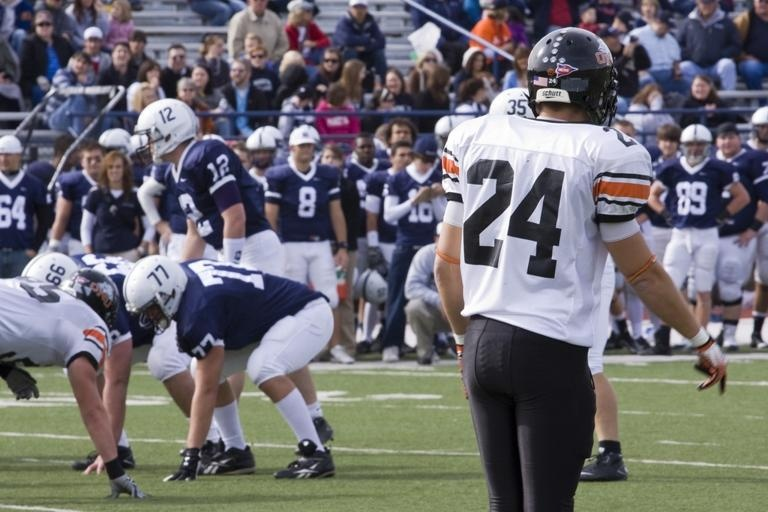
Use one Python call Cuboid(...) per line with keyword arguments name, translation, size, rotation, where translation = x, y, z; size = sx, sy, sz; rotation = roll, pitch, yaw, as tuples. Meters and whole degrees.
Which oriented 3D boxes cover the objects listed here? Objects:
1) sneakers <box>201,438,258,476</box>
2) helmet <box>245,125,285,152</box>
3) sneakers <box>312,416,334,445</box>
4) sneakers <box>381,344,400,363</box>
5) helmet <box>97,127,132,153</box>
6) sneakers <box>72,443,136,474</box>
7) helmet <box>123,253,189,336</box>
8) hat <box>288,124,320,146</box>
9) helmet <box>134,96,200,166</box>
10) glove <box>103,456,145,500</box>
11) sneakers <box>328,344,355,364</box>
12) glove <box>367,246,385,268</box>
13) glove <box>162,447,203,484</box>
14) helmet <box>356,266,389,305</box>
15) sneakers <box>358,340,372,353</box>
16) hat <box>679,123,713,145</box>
Cuboid(name="sneakers", translation=(-1.289, 1.720, 12.267), size=(0.511, 0.251, 0.195), rotation=(1, -8, 1))
Cuboid(name="helmet", translation=(-1.390, -1.381, 16.786), size=(0.443, 0.241, 0.657), rotation=(2, -2, -4))
Cuboid(name="sneakers", translation=(-0.516, 1.463, 12.392), size=(0.289, 0.217, 0.103), rotation=(2, 23, 38))
Cuboid(name="sneakers", translation=(0.073, 1.069, 16.301), size=(0.140, 0.121, 0.283), rotation=(-1, -12, -3))
Cuboid(name="helmet", translation=(-3.197, -1.359, 16.920), size=(0.275, 0.359, 0.363), rotation=(-8, -23, 5))
Cuboid(name="sneakers", translation=(-2.428, 1.685, 12.167), size=(0.578, 0.263, 0.207), rotation=(6, -3, -25))
Cuboid(name="helmet", translation=(-1.853, 0.301, 11.655), size=(0.509, 0.624, 0.221), rotation=(-2, 8, -10))
Cuboid(name="hat", translation=(-0.880, -1.338, 15.695), size=(0.202, 0.166, 0.292), rotation=(-1, 3, -12))
Cuboid(name="helmet", translation=(-1.916, -1.170, 12.891), size=(0.543, 0.497, 0.472), rotation=(-15, 11, 9))
Cuboid(name="glove", translation=(-2.068, 1.719, 11.468), size=(0.298, 0.358, 0.221), rotation=(-2, 9, -12))
Cuboid(name="sneakers", translation=(-0.497, 1.074, 16.259), size=(0.130, 0.162, 0.365), rotation=(-8, 2, -31))
Cuboid(name="glove", translation=(-0.084, 0.000, 16.778), size=(0.175, 0.244, 0.210), rotation=(-2, -23, 7))
Cuboid(name="glove", translation=(-1.673, 1.685, 11.827), size=(0.293, 0.323, 0.204), rotation=(-3, 9, -18))
Cuboid(name="helmet", translation=(-0.104, 0.338, 16.745), size=(0.375, 0.304, 0.359), rotation=(4, -41, 8))
Cuboid(name="sneakers", translation=(-0.230, 1.028, 16.892), size=(0.131, 0.107, 0.151), rotation=(2, 1, -22))
Cuboid(name="hat", translation=(3.571, -1.421, 16.513), size=(0.218, 0.250, 0.288), rotation=(0, -13, 3))
